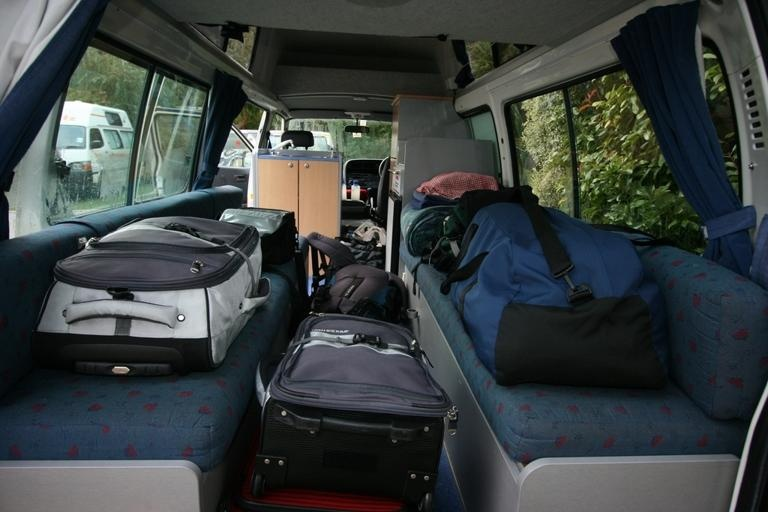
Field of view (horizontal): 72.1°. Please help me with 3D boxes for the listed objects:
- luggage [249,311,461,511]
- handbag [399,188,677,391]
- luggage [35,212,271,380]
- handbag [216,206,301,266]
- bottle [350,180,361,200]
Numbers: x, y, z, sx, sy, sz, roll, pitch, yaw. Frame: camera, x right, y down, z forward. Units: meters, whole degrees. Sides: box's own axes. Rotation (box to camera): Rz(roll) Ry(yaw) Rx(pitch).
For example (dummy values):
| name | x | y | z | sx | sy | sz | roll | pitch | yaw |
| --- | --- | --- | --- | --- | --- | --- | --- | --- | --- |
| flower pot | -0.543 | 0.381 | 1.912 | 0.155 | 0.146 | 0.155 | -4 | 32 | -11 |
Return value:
| name | x | y | z | sx | sy | sz | roll | pitch | yaw |
| --- | --- | --- | --- | --- | --- | --- | --- | --- | --- |
| luggage | -0.136 | 0.722 | 2.339 | 0.663 | 0.450 | 0.915 | 9 | 21 | -6 |
| handbag | 0.820 | 0.059 | 2.928 | 0.758 | 0.467 | 1.176 | -1 | 20 | -5 |
| luggage | -1.135 | 0.212 | 2.717 | 0.655 | 0.367 | 0.932 | 2 | 18 | 0 |
| handbag | -1.027 | -0.193 | 4.107 | 0.469 | 0.336 | 0.474 | 9 | 12 | 0 |
| bottle | -0.455 | -1.029 | 8.199 | 0.141 | 0.319 | 0.529 | 1 | 5 | -3 |
